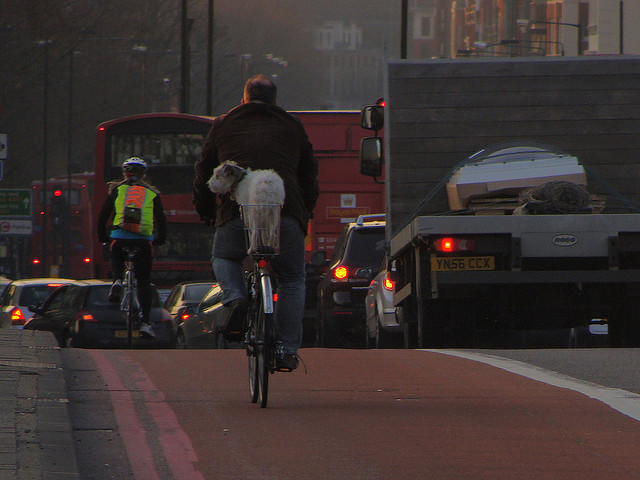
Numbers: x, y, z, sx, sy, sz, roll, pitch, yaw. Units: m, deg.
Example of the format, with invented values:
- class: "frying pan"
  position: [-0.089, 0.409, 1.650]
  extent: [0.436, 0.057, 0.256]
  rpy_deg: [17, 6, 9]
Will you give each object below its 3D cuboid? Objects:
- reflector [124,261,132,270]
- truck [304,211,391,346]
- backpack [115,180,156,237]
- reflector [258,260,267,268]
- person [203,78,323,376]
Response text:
- class: "reflector"
  position: [-2.261, 0.313, 19.054]
  extent: [0.095, 0.087, 0.026]
  rpy_deg: [8, 3, 38]
- class: "truck"
  position: [0.978, 0.592, 24.328]
  extent: [1.944, 1.807, 3.406]
  rpy_deg: [1, 4, 0]
- class: "backpack"
  position: [-2.168, -0.356, 18.911]
  extent: [0.495, 0.619, 0.343]
  rpy_deg: [6, 2, -3]
- class: "reflector"
  position: [-0.477, 0.211, 13.760]
  extent: [0.076, 0.067, 0.035]
  rpy_deg: [0, 3, -6]
- class: "person"
  position: [-0.418, -0.148, 14.090]
  extent: [1.035, 2.495, 1.468]
  rpy_deg: [7, 7, -9]
